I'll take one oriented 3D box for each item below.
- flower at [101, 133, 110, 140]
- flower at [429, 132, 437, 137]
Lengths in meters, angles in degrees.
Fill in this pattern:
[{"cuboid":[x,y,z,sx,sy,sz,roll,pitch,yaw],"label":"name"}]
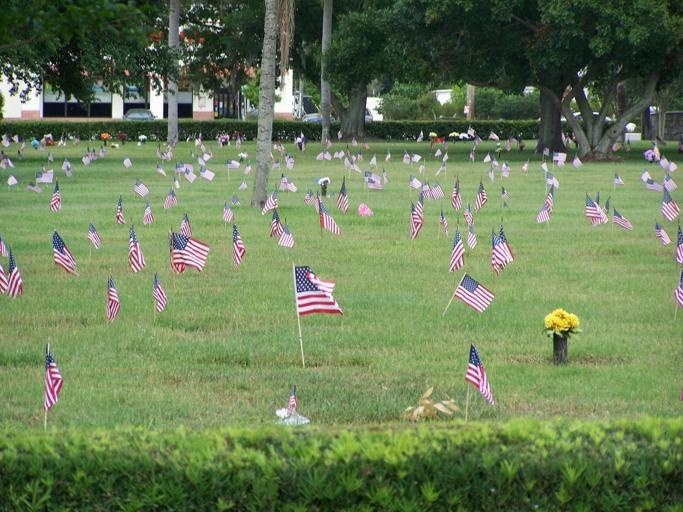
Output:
[{"cuboid":[-14.609,-7.428,126.625,0.458,0.582,0.428,-4,-6,-13],"label":"flower"},{"cuboid":[5.994,-7.920,132.385,0.451,0.256,0.495,0,0,-20],"label":"flower"}]
